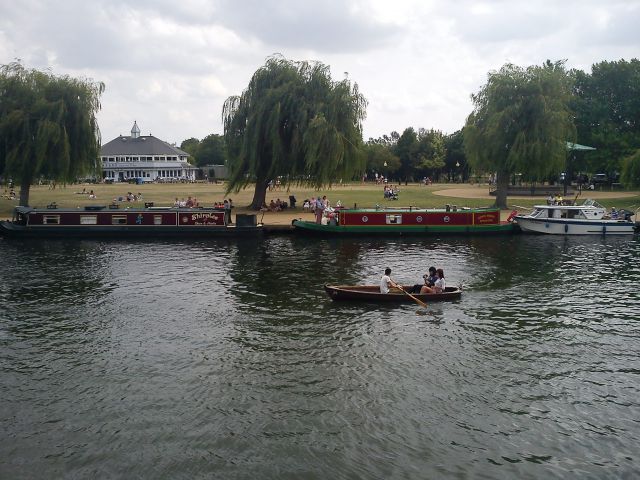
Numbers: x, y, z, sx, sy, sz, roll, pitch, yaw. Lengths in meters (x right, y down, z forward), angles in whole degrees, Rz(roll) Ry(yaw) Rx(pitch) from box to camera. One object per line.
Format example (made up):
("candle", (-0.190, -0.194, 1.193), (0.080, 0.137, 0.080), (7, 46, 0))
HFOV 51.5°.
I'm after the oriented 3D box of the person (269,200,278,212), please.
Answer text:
("person", (-4.885, -3.439, 69.529), (0.857, 1.282, 2.277), (6, -14, 0))
